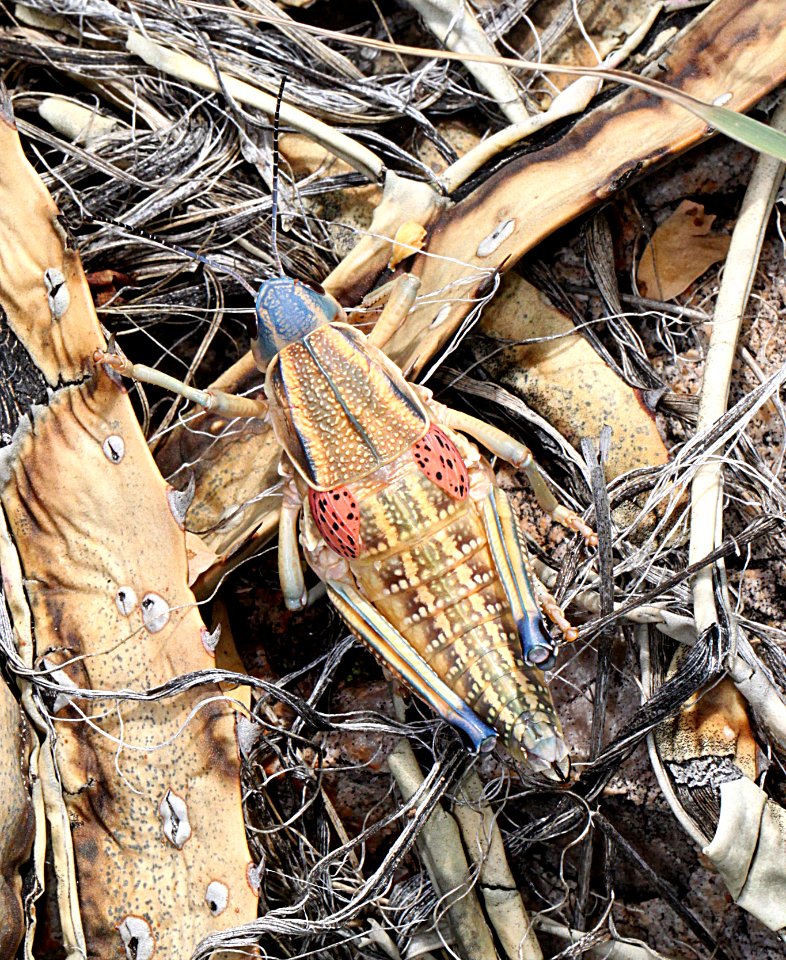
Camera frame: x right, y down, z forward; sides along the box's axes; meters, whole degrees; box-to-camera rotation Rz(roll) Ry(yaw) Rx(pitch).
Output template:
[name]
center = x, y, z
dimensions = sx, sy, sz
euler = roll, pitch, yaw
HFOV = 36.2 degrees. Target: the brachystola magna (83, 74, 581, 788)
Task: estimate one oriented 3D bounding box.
[brachystola magna]
center = -0.026, 0.052, 1.677
dimensions = 0.464, 0.462, 0.700
euler = -24, 44, -10
